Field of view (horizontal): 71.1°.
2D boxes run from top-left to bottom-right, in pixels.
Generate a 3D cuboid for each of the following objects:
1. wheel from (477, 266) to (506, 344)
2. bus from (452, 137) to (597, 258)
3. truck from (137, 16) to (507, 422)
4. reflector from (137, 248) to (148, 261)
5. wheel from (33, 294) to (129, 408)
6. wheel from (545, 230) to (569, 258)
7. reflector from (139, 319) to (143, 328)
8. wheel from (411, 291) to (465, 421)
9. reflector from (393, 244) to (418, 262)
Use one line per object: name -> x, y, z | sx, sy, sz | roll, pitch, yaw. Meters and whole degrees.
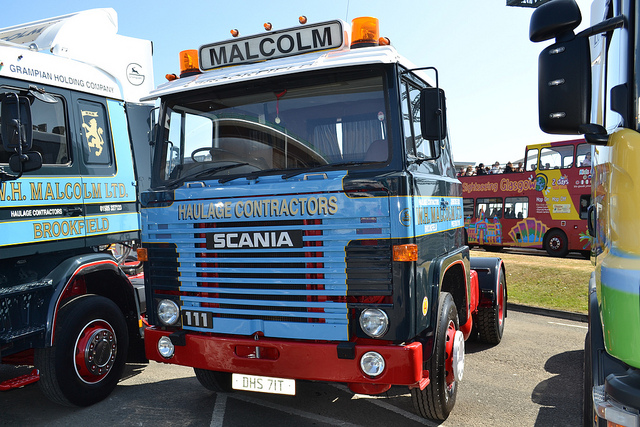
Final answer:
wheel -> 2.940, 1.596, 7.811 | 0.419, 1.513, 1.262 | -1, -2, 26
bus -> 10.256, -0.615, 21.182 | 2.479, 4.806, 9.265 | -6, 2, -14
truck -> 0.462, 0.436, 7.032 | 2.891, 3.665, 5.280 | -4, -8, 19
reflector -> -2.117, 0.493, 5.377 | 0.136, 0.152, 0.039 | 3, 1, 18
wheel -> -3.071, 1.774, 5.722 | 0.402, 1.175, 0.996 | -5, -32, 27
wheel -> 10.358, 1.313, 19.641 | 0.371, 1.193, 0.959 | 1, -8, -31
reflector -> -2.601, 1.606, 6.528 | 0.021, 0.129, 0.087 | -1, 3, -10
wheel -> 1.346, 1.720, 5.217 | 0.350, 1.546, 0.919 | 3, 4, 41
reflector -> 0.849, 0.399, 4.484 | 0.245, 0.174, 0.049 | -1, 3, -9
